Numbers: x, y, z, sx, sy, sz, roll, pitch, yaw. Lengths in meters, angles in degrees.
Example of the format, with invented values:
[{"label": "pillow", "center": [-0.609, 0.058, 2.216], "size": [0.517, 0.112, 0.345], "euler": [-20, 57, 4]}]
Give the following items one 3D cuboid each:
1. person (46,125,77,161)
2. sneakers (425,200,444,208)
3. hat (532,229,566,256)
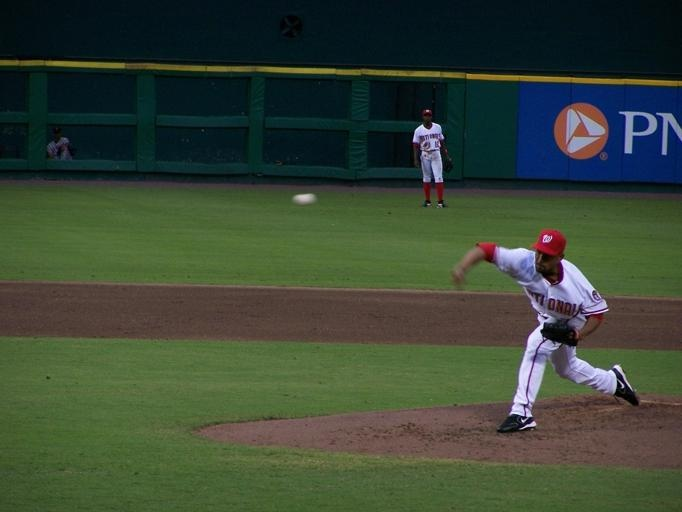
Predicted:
[{"label": "person", "center": [-5.993, -2.419, 36.746], "size": [0.323, 0.718, 0.609], "euler": [2, 6, 29]}, {"label": "sneakers", "center": [1.899, -1.054, 34.693], "size": [0.466, 0.181, 0.140], "euler": [0, 3, 15]}, {"label": "hat", "center": [3.078, -0.198, 25.433], "size": [0.451, 0.377, 0.248], "euler": [-1, 6, 5]}]
